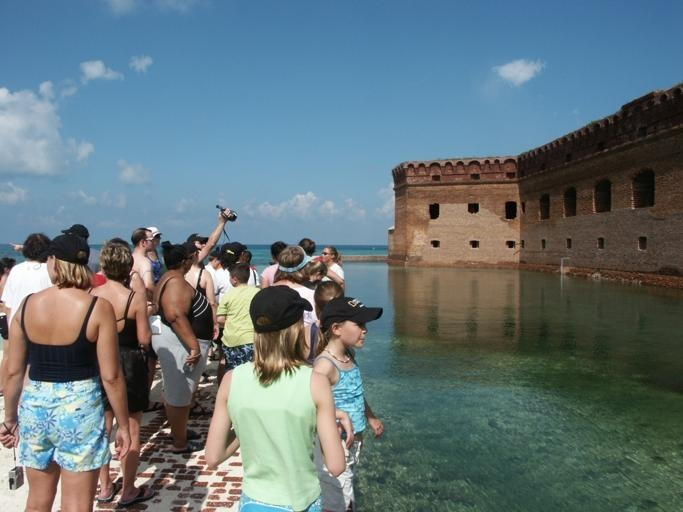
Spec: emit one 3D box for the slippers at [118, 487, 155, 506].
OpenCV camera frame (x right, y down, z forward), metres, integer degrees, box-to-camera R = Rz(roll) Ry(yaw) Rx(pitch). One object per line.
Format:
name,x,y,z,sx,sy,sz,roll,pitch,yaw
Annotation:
slippers,-1.962,2.294,5.360,0.269,0.099,0.139,-2,1,-36

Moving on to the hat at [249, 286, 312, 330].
hat,-0.467,0.377,4.122,0.276,0.209,0.382,8,21,30

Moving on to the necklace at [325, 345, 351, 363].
necklace,0.000,0.863,4.838,0.145,0.051,0.185,18,3,-29

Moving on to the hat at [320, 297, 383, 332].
hat,0.067,0.461,4.768,0.438,0.232,0.285,-8,6,7
